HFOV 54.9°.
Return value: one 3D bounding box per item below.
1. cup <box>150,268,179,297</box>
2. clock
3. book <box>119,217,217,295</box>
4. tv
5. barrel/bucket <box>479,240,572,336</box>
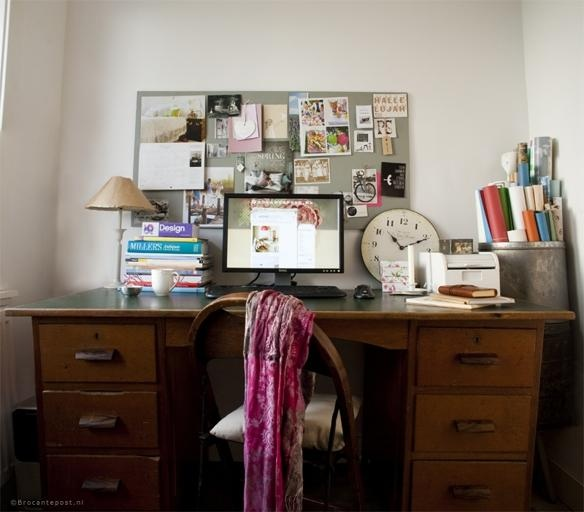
[{"bbox_3d":[-0.513,0.101,2.302,0.114,0.109,0.076,1,-3,-4],"label":"cup"},{"bbox_3d":[0.487,-0.050,2.547,0.298,0.331,0.042,4,-1,-5],"label":"clock"},{"bbox_3d":[-0.547,-0.006,2.440,0.338,0.328,0.295,1,2,-1],"label":"book"},{"bbox_3d":[-0.040,-0.094,2.474,0.382,0.301,0.106,0,-6,0],"label":"tv"},{"bbox_3d":[0.951,0.129,2.353,0.315,0.385,0.330,-1,-2,0],"label":"barrel/bucket"}]
